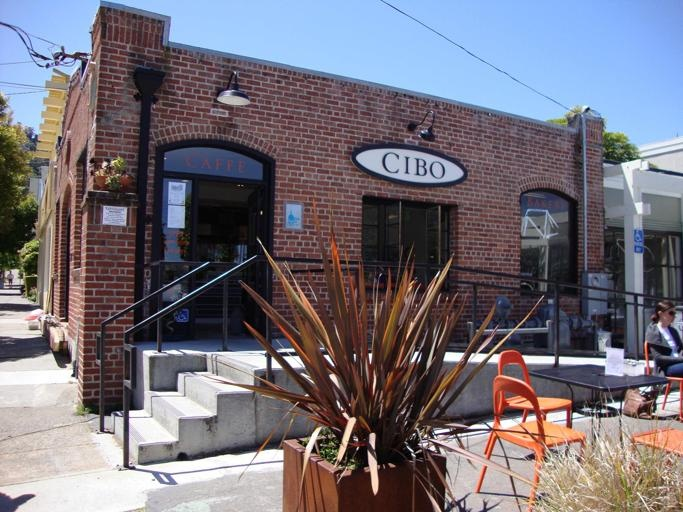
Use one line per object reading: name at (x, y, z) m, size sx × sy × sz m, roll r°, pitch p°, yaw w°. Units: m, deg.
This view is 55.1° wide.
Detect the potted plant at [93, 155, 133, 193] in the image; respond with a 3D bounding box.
potted plant at (-3.103, -1.062, 8.828) m, size 0.436 × 0.363 × 0.493 m, roll 3°, pitch -5°, yaw -8°

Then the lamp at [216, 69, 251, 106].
lamp at (-1.577, -2.447, 9.469) m, size 0.388 × 0.430 × 0.403 m, roll 8°, pitch 9°, yaw 33°

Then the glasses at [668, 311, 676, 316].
glasses at (4.064, 0.709, 8.078) m, size 0.051 × 0.019 × 0.056 m, roll 7°, pitch -39°, yaw -5°

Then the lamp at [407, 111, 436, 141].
lamp at (1.367, -2.205, 10.984) m, size 0.546 × 0.551 × 0.236 m, roll 3°, pitch -1°, yaw -36°
